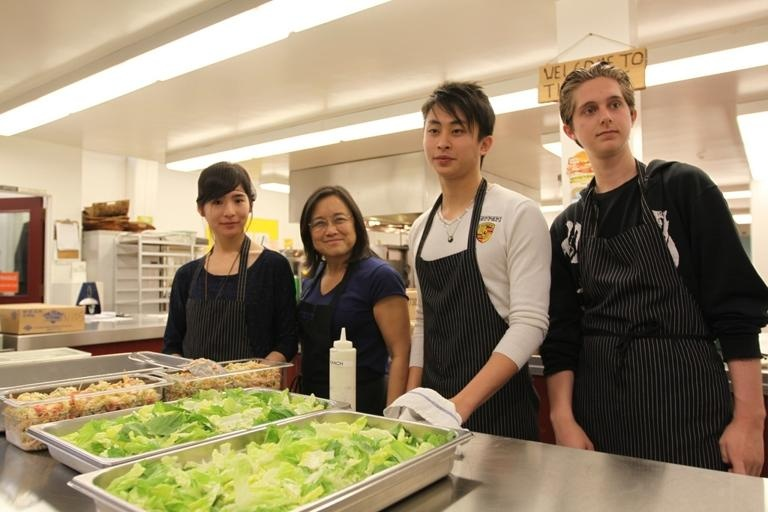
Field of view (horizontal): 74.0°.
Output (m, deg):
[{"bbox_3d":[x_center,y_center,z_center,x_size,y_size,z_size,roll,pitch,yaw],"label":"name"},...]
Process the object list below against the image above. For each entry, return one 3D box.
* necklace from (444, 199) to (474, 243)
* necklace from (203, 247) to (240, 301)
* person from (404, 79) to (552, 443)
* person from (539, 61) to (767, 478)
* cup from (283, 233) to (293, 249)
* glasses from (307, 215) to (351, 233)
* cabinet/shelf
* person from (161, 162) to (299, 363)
[{"bbox_3d":[0.306,-0.147,2.148,0.120,0.153,0.037,5,-6,31],"label":"necklace"},{"bbox_3d":[-0.847,0.110,2.673,0.215,0.310,0.134,-7,-28,8],"label":"necklace"},{"bbox_3d":[0.346,0.024,2.037,0.621,1.515,0.516,-4,-2,18],"label":"person"},{"bbox_3d":[1.006,0.000,1.996,0.790,1.378,0.291,-4,-2,22],"label":"person"},{"bbox_3d":[-2.180,-0.315,11.490,0.214,0.376,0.398,-3,1,24],"label":"cup"},{"bbox_3d":[-0.266,-0.155,2.448,0.108,0.034,0.106,-13,-12,3],"label":"glasses"},{"bbox_3d":[-3.306,0.363,7.040,0.608,1.127,0.895,10,3,27],"label":"cabinet/shelf"},{"bbox_3d":[-0.806,0.024,2.695,0.784,1.027,0.311,-4,-2,25],"label":"person"}]
